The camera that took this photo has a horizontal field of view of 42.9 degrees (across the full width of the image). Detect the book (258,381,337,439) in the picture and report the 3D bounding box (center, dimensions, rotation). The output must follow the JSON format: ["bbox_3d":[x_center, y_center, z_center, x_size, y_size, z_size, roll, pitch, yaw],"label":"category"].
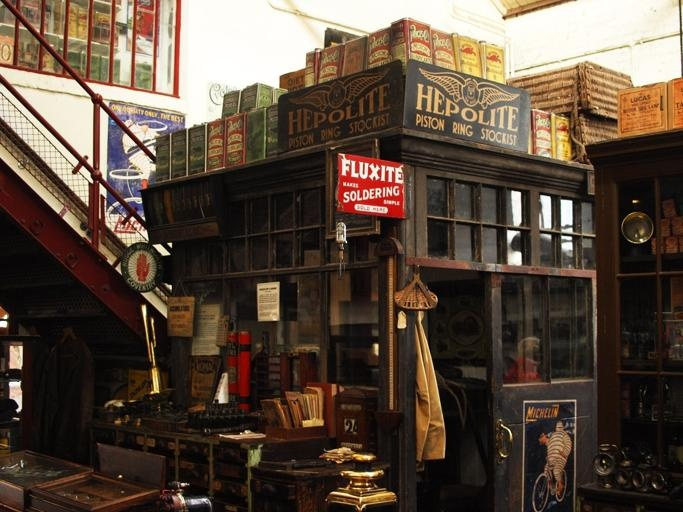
[{"bbox_3d":[-0.434,1.405,8.451,0.623,0.483,0.499,4,-6,-31],"label":"book"}]
